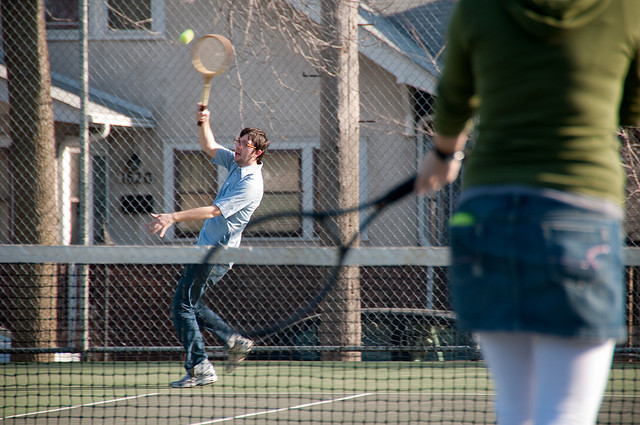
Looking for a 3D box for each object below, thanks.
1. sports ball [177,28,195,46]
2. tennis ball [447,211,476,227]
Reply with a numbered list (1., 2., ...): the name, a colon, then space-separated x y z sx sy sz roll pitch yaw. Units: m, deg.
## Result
1. sports ball: -1.398 -1.917 14.205 0.120 0.181 0.253 2 -6 -2
2. tennis ball: 1.215 0.067 11.203 0.184 0.115 0.167 -3 14 1
